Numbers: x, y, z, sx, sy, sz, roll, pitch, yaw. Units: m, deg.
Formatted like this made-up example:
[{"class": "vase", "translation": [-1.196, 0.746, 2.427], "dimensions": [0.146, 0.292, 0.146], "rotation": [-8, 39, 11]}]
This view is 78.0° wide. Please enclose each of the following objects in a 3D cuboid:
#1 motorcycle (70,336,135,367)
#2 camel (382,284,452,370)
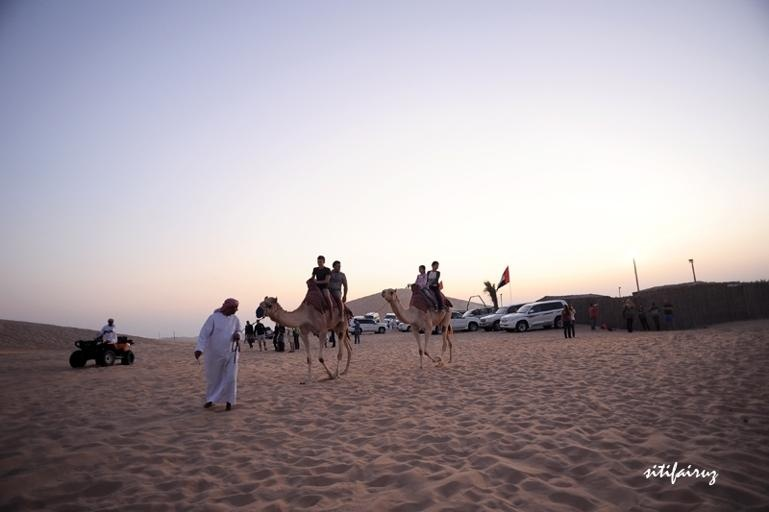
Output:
[{"class": "motorcycle", "translation": [-10.650, 3.613, 17.828], "dimensions": [1.265, 1.219, 2.033], "rotation": [-5, -13, 21]}, {"class": "camel", "translation": [1.444, 2.441, 16.962], "dimensions": [1.909, 2.898, 5.533], "rotation": [-1, -2, 9]}]
